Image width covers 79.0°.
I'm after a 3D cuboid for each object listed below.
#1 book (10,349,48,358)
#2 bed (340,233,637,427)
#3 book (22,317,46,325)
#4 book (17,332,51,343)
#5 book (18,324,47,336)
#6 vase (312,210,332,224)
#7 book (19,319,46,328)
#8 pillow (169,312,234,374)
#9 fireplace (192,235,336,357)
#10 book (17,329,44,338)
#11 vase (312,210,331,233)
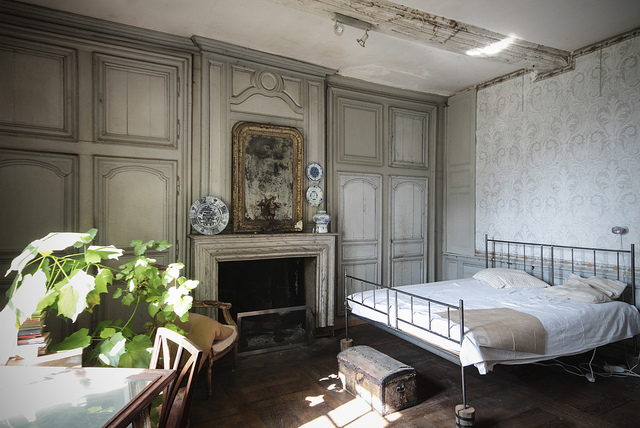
[{"bbox_3d":[-2.095,0.999,2.780,0.119,0.028,0.118,2,-5,-33],"label":"book"},{"bbox_3d":[2.113,1.026,4.496,2.229,1.368,2.110,1,-3,-27],"label":"bed"},{"bbox_3d":[-2.071,0.769,2.802,0.119,0.028,0.117,2,-6,-25],"label":"book"},{"bbox_3d":[-2.089,0.897,2.821,0.150,0.035,0.150,1,-1,-5],"label":"book"},{"bbox_3d":[-2.093,0.838,2.813,0.155,0.037,0.154,2,-5,-33],"label":"book"},{"bbox_3d":[0.022,0.031,5.389,0.183,0.152,0.185,-2,-1,27],"label":"vase"},{"bbox_3d":[-2.077,0.788,2.795,0.134,0.032,0.136,-5,-5,35],"label":"book"},{"bbox_3d":[-1.259,1.268,4.146,0.553,0.336,0.418,5,12,28],"label":"pillow"},{"bbox_3d":[-0.570,1.023,5.244,1.976,1.522,0.654,-5,-1,12],"label":"fireplace"},{"bbox_3d":[-2.108,0.882,2.825,0.144,0.023,0.040,-6,12,-29],"label":"book"},{"bbox_3d":[0.027,0.104,5.317,0.266,0.309,0.266,1,-7,-11],"label":"vase"}]
